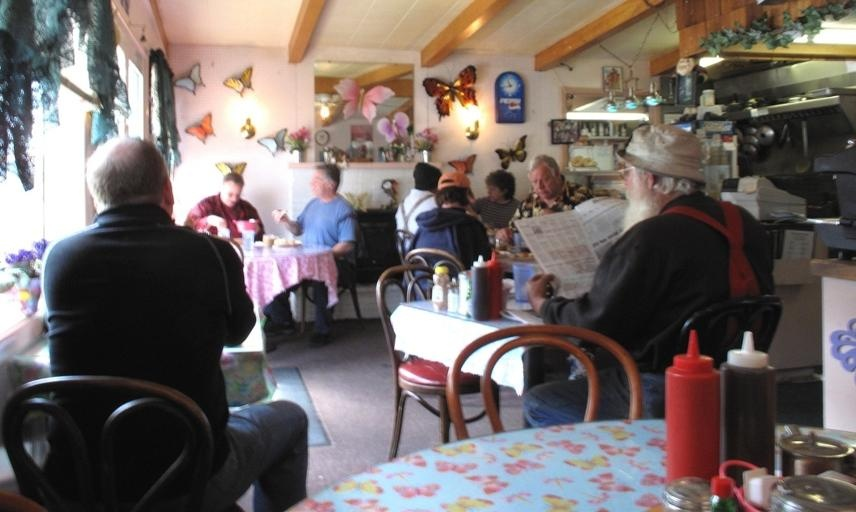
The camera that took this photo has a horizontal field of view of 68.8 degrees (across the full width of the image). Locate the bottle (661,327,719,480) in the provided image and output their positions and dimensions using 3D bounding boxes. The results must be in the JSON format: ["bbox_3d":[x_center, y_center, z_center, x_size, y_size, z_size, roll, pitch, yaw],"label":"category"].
[{"bbox_3d":[0.728,0.444,1.709,0.154,0.470,0.150,-1,2,0],"label":"bottle"}]

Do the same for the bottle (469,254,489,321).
[{"bbox_3d":[0.239,0.145,2.948,0.088,0.278,0.153,-1,10,4],"label":"bottle"}]

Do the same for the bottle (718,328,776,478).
[{"bbox_3d":[0.836,0.371,1.632,0.140,0.376,0.125,4,12,28],"label":"bottle"}]

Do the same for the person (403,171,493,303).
[{"bbox_3d":[0.226,-0.186,5.023,0.868,0.950,0.489,2,0,28],"label":"person"}]

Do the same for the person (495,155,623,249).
[{"bbox_3d":[1.101,-0.346,5.752,0.941,1.090,0.526,-7,7,11],"label":"person"}]

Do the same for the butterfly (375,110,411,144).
[{"bbox_3d":[-0.398,-1.537,7.492,0.434,0.351,0.099,-17,20,-18],"label":"butterfly"}]

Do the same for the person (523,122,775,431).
[{"bbox_3d":[1.003,0.173,3.093,1.139,1.512,1.075,-2,11,0],"label":"person"}]

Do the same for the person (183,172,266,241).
[{"bbox_3d":[-2.080,-0.484,6.391,0.852,0.716,0.609,-4,16,-28],"label":"person"}]

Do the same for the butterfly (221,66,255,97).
[{"bbox_3d":[-2.139,-1.979,7.078,0.342,0.323,0.081,-5,11,-16],"label":"butterfly"}]

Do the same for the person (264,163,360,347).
[{"bbox_3d":[-1.096,0.011,6.214,0.775,1.794,0.777,-3,12,-31],"label":"person"}]

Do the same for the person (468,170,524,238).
[{"bbox_3d":[0.773,-0.604,6.822,0.433,0.778,0.556,1,-18,-5],"label":"person"}]

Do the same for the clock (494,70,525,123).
[{"bbox_3d":[1.033,-1.969,7.798,0.422,0.639,0.089,-5,11,-17],"label":"clock"}]

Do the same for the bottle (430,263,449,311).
[{"bbox_3d":[0.065,0.155,3.185,0.104,0.217,0.098,0,-1,0],"label":"bottle"}]

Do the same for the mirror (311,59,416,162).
[{"bbox_3d":[-0.803,-1.742,7.439,1.365,1.126,0.357,0,8,0],"label":"mirror"}]
